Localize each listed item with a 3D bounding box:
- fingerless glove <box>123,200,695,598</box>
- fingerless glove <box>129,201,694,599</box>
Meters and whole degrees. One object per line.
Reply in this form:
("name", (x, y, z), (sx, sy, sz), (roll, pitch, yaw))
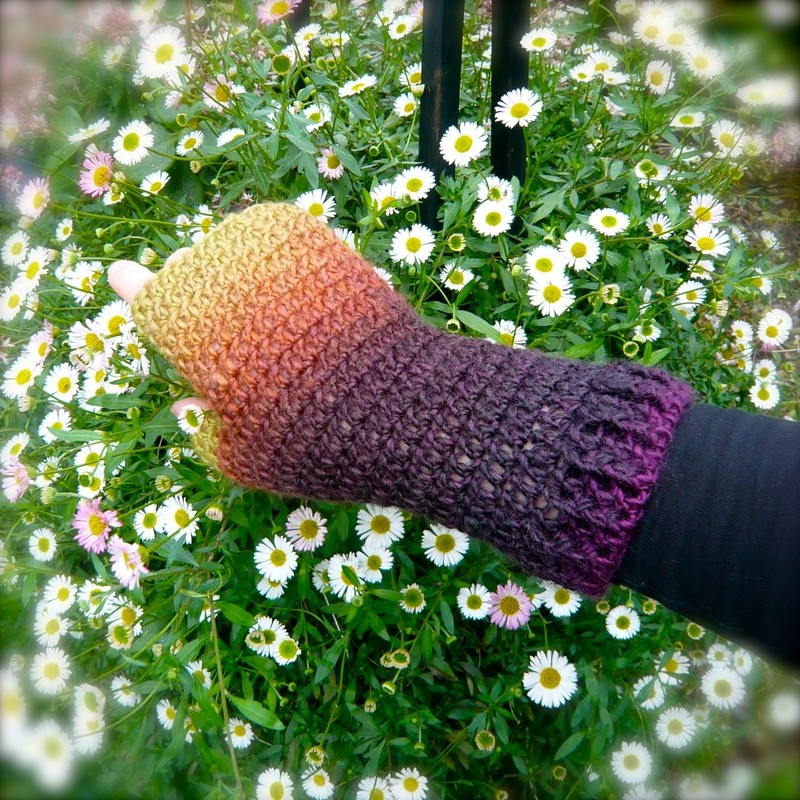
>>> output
("fingerless glove", (-0.012, 0.015, 1.137), (0.740, 0.242, 0.402), (18, 72, 12))
("fingerless glove", (-0.023, 0.002, 1.146), (0.796, 0.239, 0.409), (24, 52, 22))
